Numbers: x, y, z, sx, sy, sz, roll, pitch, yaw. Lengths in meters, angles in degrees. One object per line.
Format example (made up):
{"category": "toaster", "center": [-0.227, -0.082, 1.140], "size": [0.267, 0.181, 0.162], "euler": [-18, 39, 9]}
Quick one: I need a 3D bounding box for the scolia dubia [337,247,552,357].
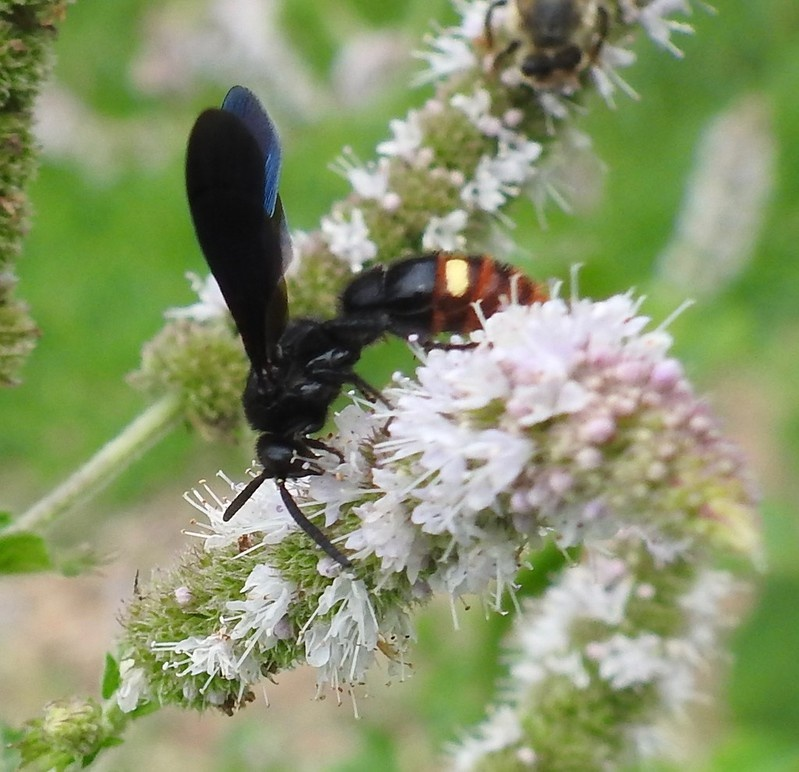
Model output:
{"category": "scolia dubia", "center": [0.062, -0.152, 2.318], "size": [0.400, 0.168, 0.104], "euler": [-6, 100, 32]}
